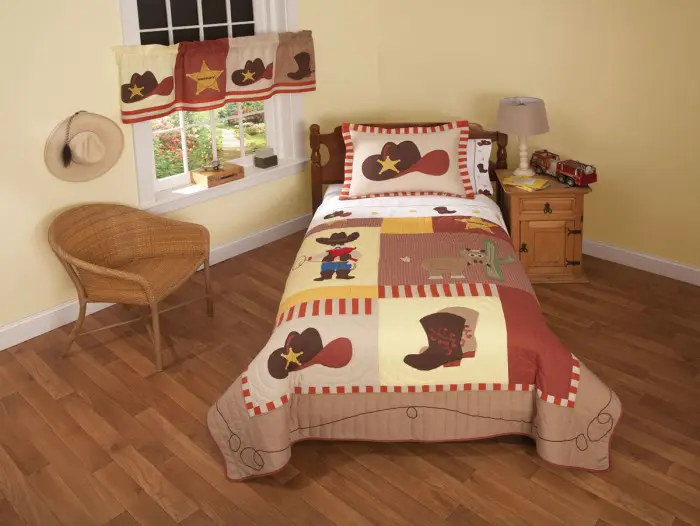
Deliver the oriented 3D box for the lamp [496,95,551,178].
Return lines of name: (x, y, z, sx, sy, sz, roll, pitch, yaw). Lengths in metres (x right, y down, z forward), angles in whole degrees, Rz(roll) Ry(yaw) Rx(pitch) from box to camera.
lamp: (1.388, -0.975, 4.300, 0.473, 0.508, 0.426, -9, 18, -17)

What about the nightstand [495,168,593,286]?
nightstand: (1.456, -0.216, 4.403, 0.829, 0.684, 0.636, 0, 0, -7)

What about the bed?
bed: (0.088, 0.255, 3.573, 2.118, 0.850, 2.394, 2, 17, -21)

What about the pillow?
pillow: (0.537, -0.788, 4.241, 1.004, 0.483, 0.178, -1, -2, 4)

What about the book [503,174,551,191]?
book: (1.377, -0.619, 4.165, 0.211, 0.026, 0.207, 15, 27, 36)

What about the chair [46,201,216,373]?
chair: (-1.494, 0.058, 3.635, 0.858, 0.650, 0.826, 14, 29, 10)

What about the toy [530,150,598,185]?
toy: (1.625, -0.751, 4.232, 0.273, 0.168, 0.535, -16, 26, -31)
